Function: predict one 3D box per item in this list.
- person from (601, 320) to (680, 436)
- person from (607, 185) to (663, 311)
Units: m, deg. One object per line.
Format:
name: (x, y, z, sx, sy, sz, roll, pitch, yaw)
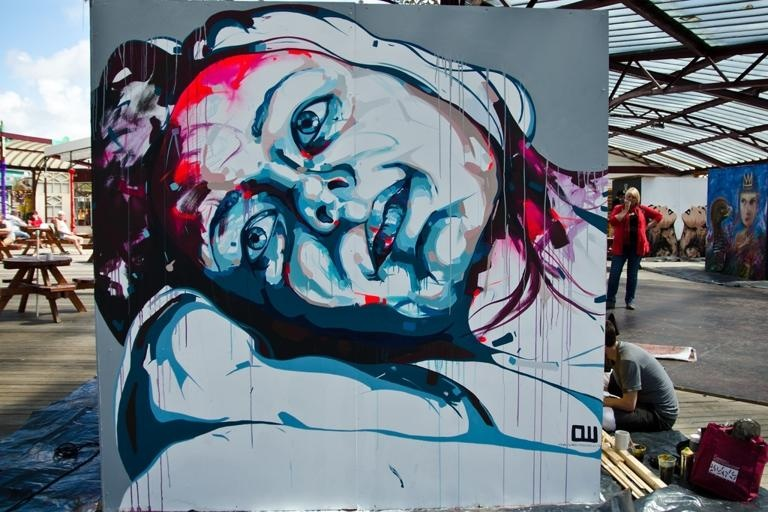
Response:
person: (2.755, 1.291, 8.555, 0.969, 1.331, 0.852, 1, 5, 22)
person: (3.993, -0.115, 12.533, 0.716, 1.964, 0.950, 1, 2, 21)
